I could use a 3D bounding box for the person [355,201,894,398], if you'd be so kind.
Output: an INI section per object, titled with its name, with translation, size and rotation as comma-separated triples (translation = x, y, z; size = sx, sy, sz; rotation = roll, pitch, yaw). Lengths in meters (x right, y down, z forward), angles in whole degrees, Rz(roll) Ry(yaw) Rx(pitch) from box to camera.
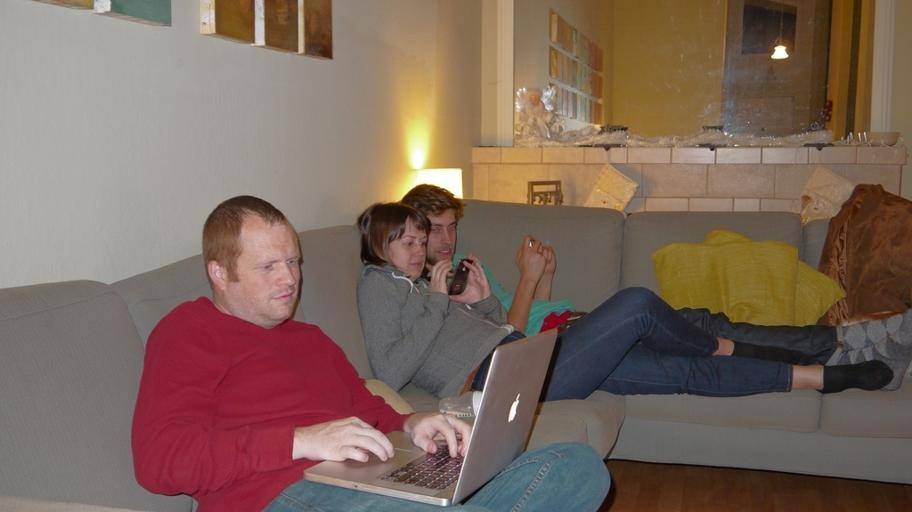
[person]
translation = 0.841, 0.221, 3.263
size = 2.658, 0.984, 0.994
rotation = -2, 1, 3

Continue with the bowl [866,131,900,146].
[bowl]
translation = 2.901, -0.796, 4.629
size = 0.292, 0.090, 0.127
rotation = -3, 10, -18

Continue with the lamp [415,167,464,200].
[lamp]
translation = -0.103, -0.419, 3.950
size = 0.341, 0.201, 0.175
rotation = 0, -5, 1
